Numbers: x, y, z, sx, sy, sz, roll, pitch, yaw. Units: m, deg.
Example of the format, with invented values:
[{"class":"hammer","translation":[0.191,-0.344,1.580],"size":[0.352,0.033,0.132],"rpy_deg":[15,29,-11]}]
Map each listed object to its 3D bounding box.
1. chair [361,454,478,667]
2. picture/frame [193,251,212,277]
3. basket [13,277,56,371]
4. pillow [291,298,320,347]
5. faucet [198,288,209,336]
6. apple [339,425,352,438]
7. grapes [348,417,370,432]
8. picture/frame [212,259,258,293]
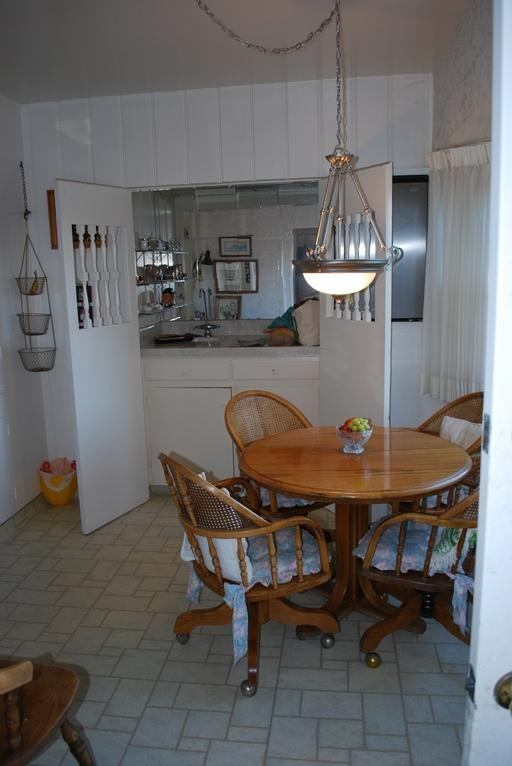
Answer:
[{"class":"chair","translation":[0.571,0.686,2.085],"size":[0.422,0.789,0.673],"rpy_deg":[0,8,17]},{"class":"picture/frame","translation":[-0.487,-1.075,5.178],"size":[0.182,0.231,0.038],"rpy_deg":[-3,7,-6]},{"class":"basket","translation":[-1.473,-0.378,3.812],"size":[0.242,0.666,0.336],"rpy_deg":[-5,8,-21]},{"class":"pillow","translation":[0.369,-0.429,4.009],"size":[0.177,0.332,0.297],"rpy_deg":[-3,7,-6]},{"class":"faucet","translation":[-0.472,-0.645,5.156],"size":[0.077,0.399,0.139],"rpy_deg":[-2,7,0]},{"class":"apple","translation":[0.361,0.202,2.321],"size":[0.039,0.029,0.035],"rpy_deg":[-8,13,-41]},{"class":"grapes","translation":[0.435,0.176,2.350],"size":[0.071,0.040,0.053],"rpy_deg":[1,2,-39]},{"class":"picture/frame","translation":[-0.174,-0.976,5.147],"size":[0.290,0.251,0.020],"rpy_deg":[0,7,0]}]
